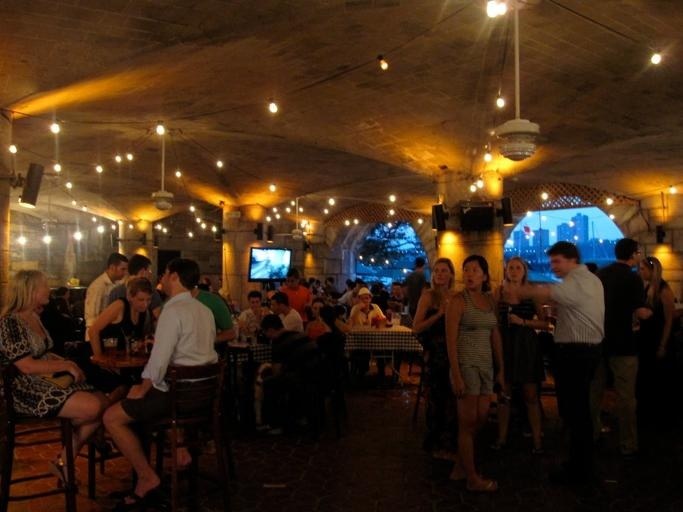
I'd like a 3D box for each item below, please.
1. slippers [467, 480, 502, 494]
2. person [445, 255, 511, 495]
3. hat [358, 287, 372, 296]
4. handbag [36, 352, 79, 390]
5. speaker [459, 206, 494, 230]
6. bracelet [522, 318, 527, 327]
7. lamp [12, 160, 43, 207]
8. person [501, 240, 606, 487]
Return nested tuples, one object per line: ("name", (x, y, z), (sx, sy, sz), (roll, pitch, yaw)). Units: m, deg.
("slippers", (1.284, 2.083, 5.340), (0.239, 0.047, 0.120), (-3, -3, 7))
("person", (1.262, 1.074, 5.587), (0.523, 2.141, 0.814), (2, 8, 15))
("hat", (0.377, 0.590, 9.469), (0.161, 0.068, 0.161), (2, 5, 38))
("handbag", (-2.405, 0.944, 4.933), (0.294, 0.085, 0.289), (27, 2, 16))
("speaker", (2.449, -0.688, 10.667), (0.729, 0.476, 0.388), (2, 8, 16))
("bracelet", (1.959, 0.723, 6.296), (0.050, 0.063, 0.024), (-5, -8, 21))
("lamp", (-4.498, -1.029, 8.506), (0.365, 0.638, 1.106), (-4, 8, -27))
("person", (2.082, 1.004, 5.580), (0.682, 2.245, 0.904), (3, 8, 24))
